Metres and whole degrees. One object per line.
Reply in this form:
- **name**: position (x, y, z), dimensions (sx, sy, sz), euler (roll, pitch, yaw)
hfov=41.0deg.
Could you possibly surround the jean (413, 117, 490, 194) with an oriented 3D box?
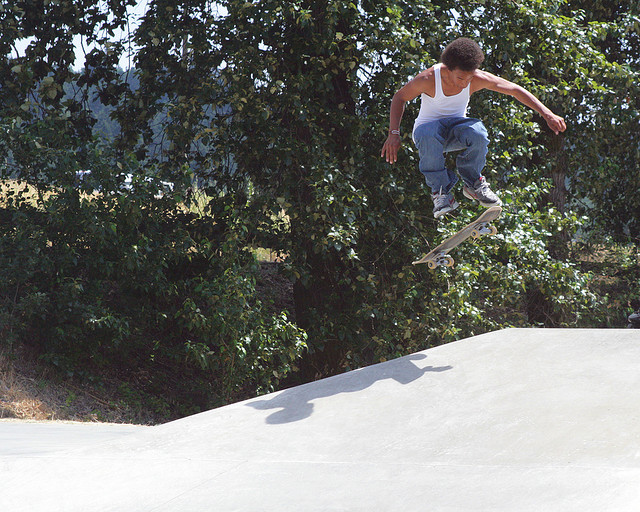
- **jean**: position (1.353, -1.037, 8.757), dimensions (0.673, 0.882, 0.602), euler (-3, -1, 5)

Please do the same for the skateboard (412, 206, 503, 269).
- **skateboard**: position (1.486, -0.193, 9.022), dimensions (0.966, 0.461, 0.278), euler (-7, 3, 35)
